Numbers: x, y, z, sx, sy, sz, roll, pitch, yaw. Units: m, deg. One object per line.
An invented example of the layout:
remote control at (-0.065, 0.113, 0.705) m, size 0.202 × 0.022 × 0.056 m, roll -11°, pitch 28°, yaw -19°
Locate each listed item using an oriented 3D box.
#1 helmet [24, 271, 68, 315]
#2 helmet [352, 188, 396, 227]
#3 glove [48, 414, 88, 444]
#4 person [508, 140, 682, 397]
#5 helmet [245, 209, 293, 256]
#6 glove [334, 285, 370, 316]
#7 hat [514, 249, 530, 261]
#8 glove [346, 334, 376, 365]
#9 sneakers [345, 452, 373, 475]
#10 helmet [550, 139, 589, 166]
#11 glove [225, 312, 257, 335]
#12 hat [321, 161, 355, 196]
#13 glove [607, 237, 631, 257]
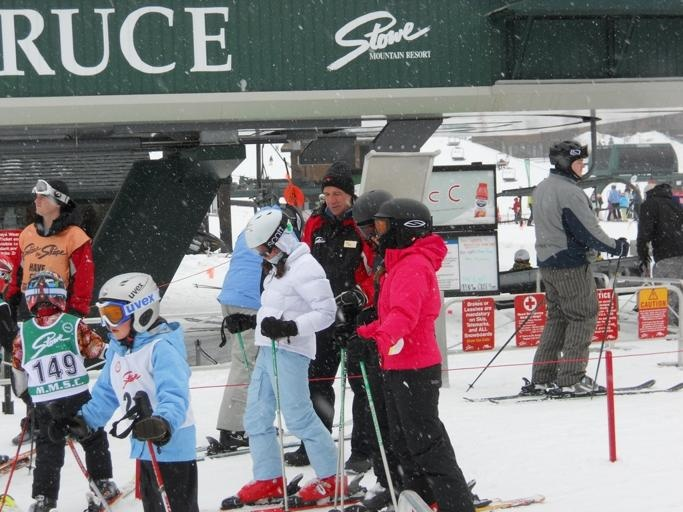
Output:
helmet at (-3.968, 0.506, 18.589) m, size 0.425 × 0.551 × 0.583 m, roll 0°, pitch 5°, yaw -3°
helmet at (0.419, -0.678, 18.442) m, size 0.503 × 0.436 × 0.382 m, roll -27°, pitch 3°, yaw -21°
glove at (-3.479, 2.242, 17.705) m, size 0.525 × 0.344 × 0.195 m, roll -3°, pitch 0°, yaw -11°
person at (3.331, 0.205, 20.495) m, size 1.235 × 3.825 × 0.344 m, roll -3°, pitch 0°, yaw 12°
helmet at (-0.976, -0.329, 18.449) m, size 0.419 × 0.581 × 0.585 m, roll -9°, pitch -15°, yaw 25°
glove at (0.141, 0.609, 18.613) m, size 0.409 × 0.284 × 0.177 m, roll -16°, pitch -7°, yaw -30°
hat at (3.659, -0.004, 27.953) m, size 0.236 × 0.271 × 0.257 m, roll 6°, pitch -2°, yaw 14°
glove at (0.275, 1.209, 17.972) m, size 0.386 × 0.382 × 0.444 m, roll -3°, pitch 0°, yaw 1°
sneakers at (0.231, 2.889, 19.005) m, size 0.382 × 0.296 × 0.199 m, roll 18°, pitch -18°, yaw -38°
helmet at (3.350, -1.530, 20.454) m, size 0.446 × 0.371 × 0.371 m, roll 5°, pitch 6°, yaw 17°
glove at (-1.376, 0.931, 18.730) m, size 0.252 × 0.195 × 0.332 m, roll -7°, pitch -9°, yaw 44°
hat at (0.008, -1.083, 19.113) m, size 0.335 × 0.483 × 0.470 m, roll 4°, pitch -8°, yaw 20°
glove at (4.093, -0.104, 20.249) m, size 0.294 × 0.312 × 0.211 m, roll -16°, pitch 23°, yaw -35°
